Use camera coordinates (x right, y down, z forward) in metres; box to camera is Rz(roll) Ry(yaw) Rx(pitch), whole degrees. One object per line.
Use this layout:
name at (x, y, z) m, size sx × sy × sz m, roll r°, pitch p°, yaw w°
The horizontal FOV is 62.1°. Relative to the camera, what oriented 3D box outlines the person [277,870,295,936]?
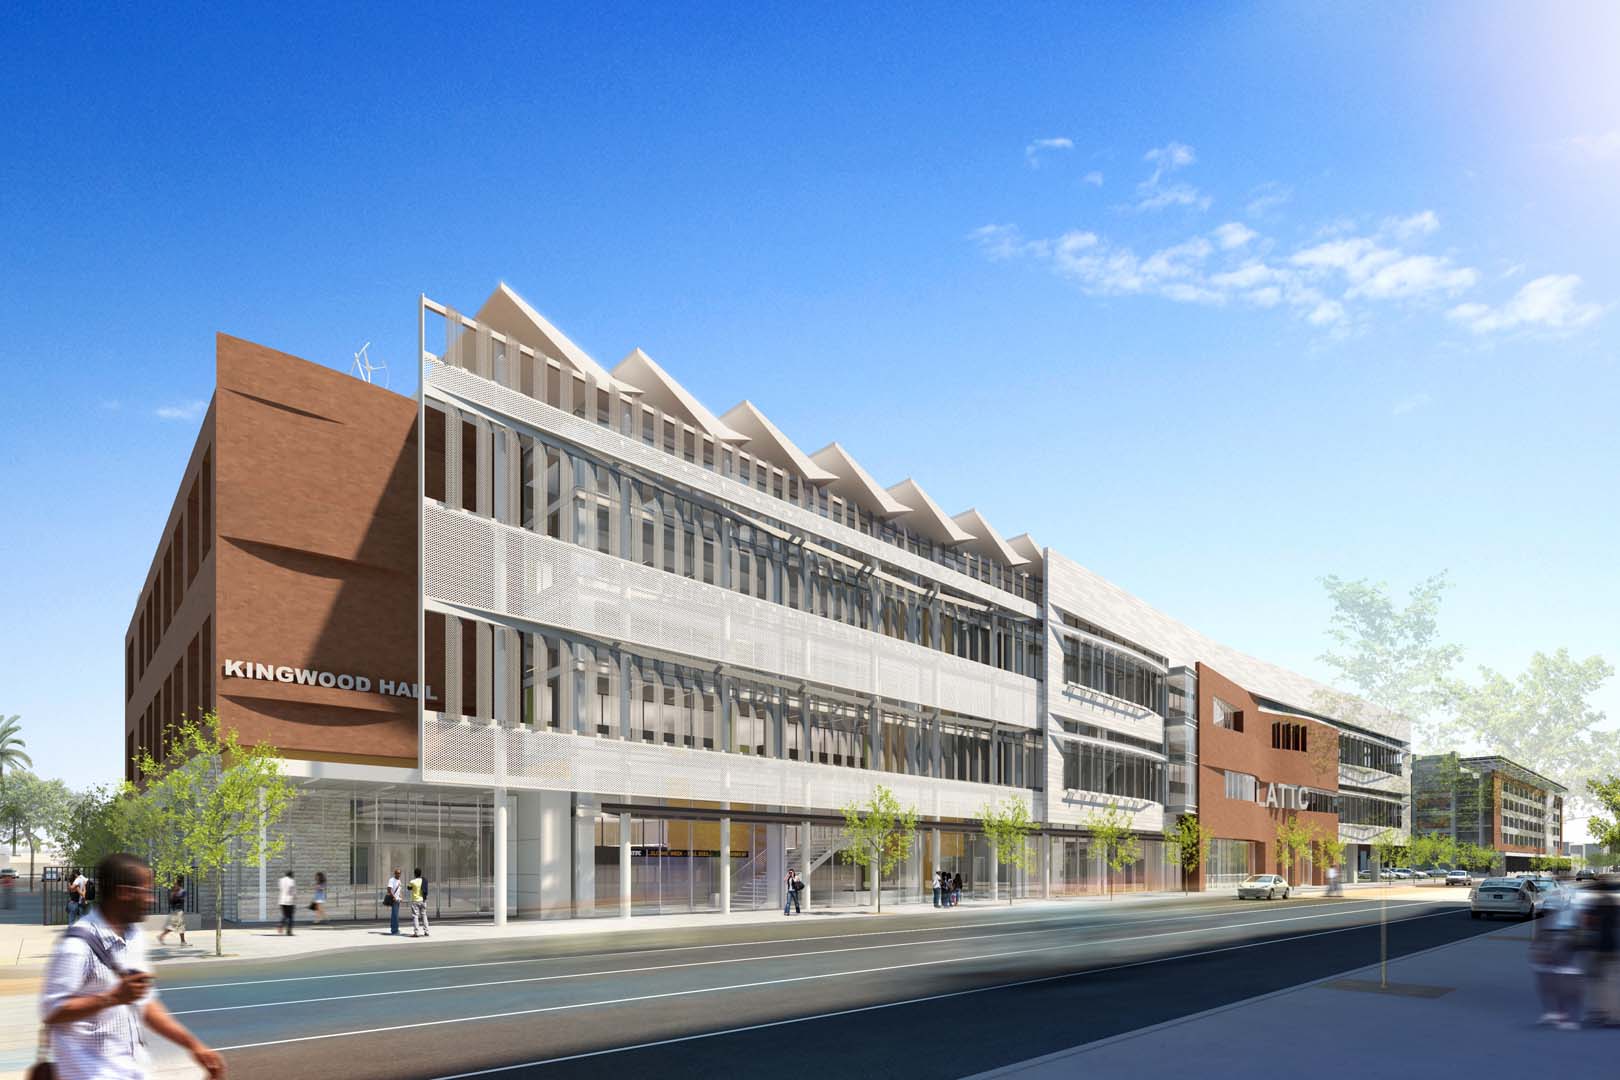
person at (-16.850, 11.783, 43.268) m, size 0.412 × 1.888 × 1.370 m, roll 4°, pitch -19°, yaw -16°
